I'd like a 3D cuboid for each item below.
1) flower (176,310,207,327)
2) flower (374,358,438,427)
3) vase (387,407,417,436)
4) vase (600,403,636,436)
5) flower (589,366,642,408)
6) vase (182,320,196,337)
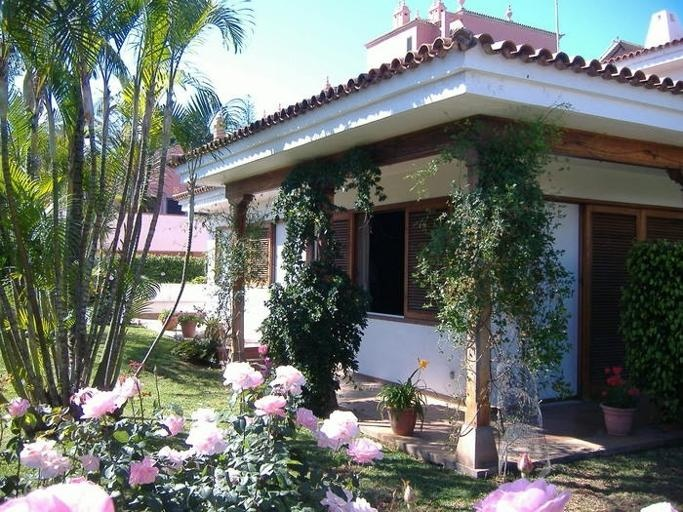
[{"bbox_3d":[-3.677,1.515,13.615,0.722,0.471,0.791,3,-2,0],"label":"flower"},{"bbox_3d":[0.879,1.734,7.154,0.581,0.996,0.895,3,-1,-10],"label":"flower"},{"bbox_3d":[0.732,1.949,6.658,0.275,0.264,0.326,3,-13,-4],"label":"vase"},{"bbox_3d":[3.373,1.970,6.846,0.387,0.352,0.413,-1,-1,-27],"label":"vase"},{"bbox_3d":[3.607,1.725,7.395,0.486,0.754,0.492,4,-19,1],"label":"flower"},{"bbox_3d":[-3.730,1.738,13.579,0.341,0.448,0.376,0,-4,-2],"label":"vase"}]
